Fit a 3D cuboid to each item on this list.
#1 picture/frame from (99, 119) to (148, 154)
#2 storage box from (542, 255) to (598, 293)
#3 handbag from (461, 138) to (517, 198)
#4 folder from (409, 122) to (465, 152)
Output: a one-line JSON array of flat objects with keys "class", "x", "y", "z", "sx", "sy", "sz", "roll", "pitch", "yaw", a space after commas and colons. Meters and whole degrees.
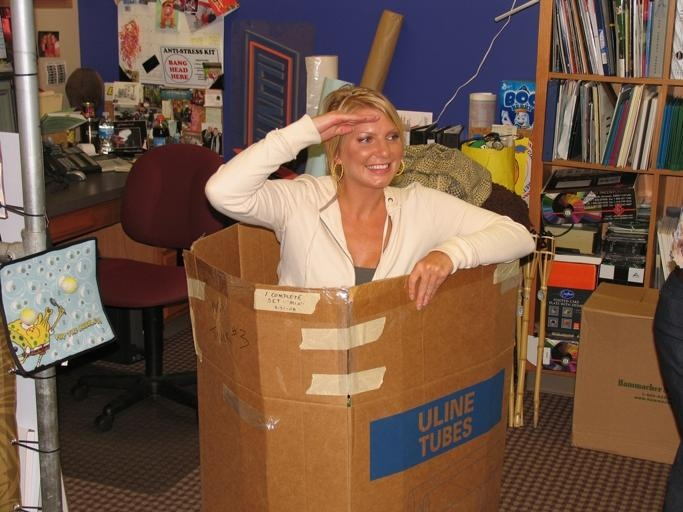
[{"class": "picture/frame", "x": -1.403, "y": -0.760, "z": 3.934, "sx": 0.326, "sy": 0.262, "sz": 0.018, "roll": -6, "pitch": 2, "yaw": -29}, {"class": "storage box", "x": 1.192, "y": 0.096, "z": 3.153, "sx": 0.204, "sy": 0.145, "sz": 0.222, "roll": 8, "pitch": 16, "yaw": 16}, {"class": "handbag", "x": 0.714, "y": -0.426, "z": 2.996, "sx": 0.225, "sy": 0.310, "sz": 0.162, "roll": 18, "pitch": 37, "yaw": 36}, {"class": "folder", "x": 0.510, "y": -0.648, "z": 3.329, "sx": 0.223, "sy": 0.098, "sz": 0.229, "roll": -12, "pitch": 22, "yaw": -30}]
